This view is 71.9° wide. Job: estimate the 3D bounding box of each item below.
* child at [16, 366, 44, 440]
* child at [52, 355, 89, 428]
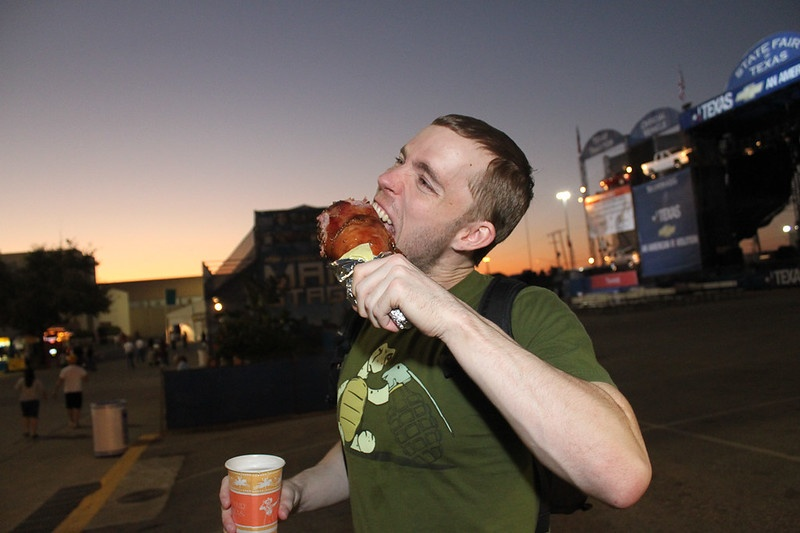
[{"bbox_3d":[-11.373,4.158,17.074,0.809,2.204,0.837,-2,-7,4],"label":"child"},{"bbox_3d":[-10.456,3.966,17.669,0.754,2.358,1.966,-3,-6,-32],"label":"child"}]
